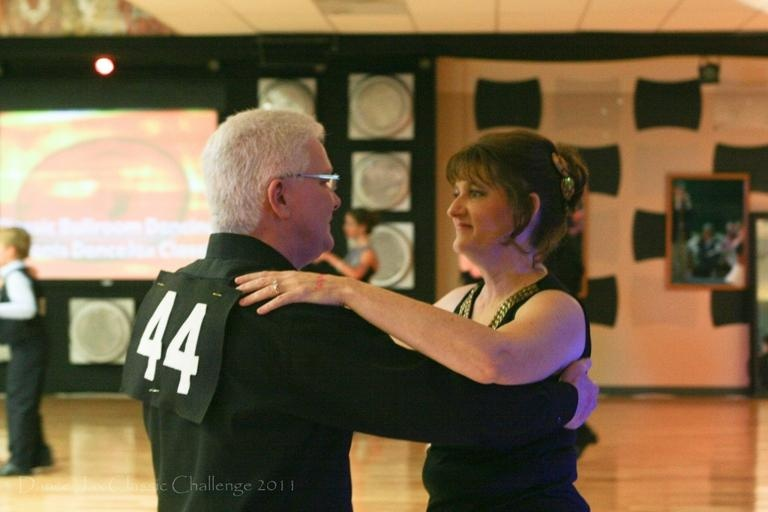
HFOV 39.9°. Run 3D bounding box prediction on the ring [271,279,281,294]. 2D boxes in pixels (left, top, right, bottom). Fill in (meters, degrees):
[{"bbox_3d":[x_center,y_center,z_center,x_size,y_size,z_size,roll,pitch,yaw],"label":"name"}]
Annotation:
[{"bbox_3d":[-0.398,0.119,3.929,0.016,0.041,0.032,-3,5,-32],"label":"ring"}]
